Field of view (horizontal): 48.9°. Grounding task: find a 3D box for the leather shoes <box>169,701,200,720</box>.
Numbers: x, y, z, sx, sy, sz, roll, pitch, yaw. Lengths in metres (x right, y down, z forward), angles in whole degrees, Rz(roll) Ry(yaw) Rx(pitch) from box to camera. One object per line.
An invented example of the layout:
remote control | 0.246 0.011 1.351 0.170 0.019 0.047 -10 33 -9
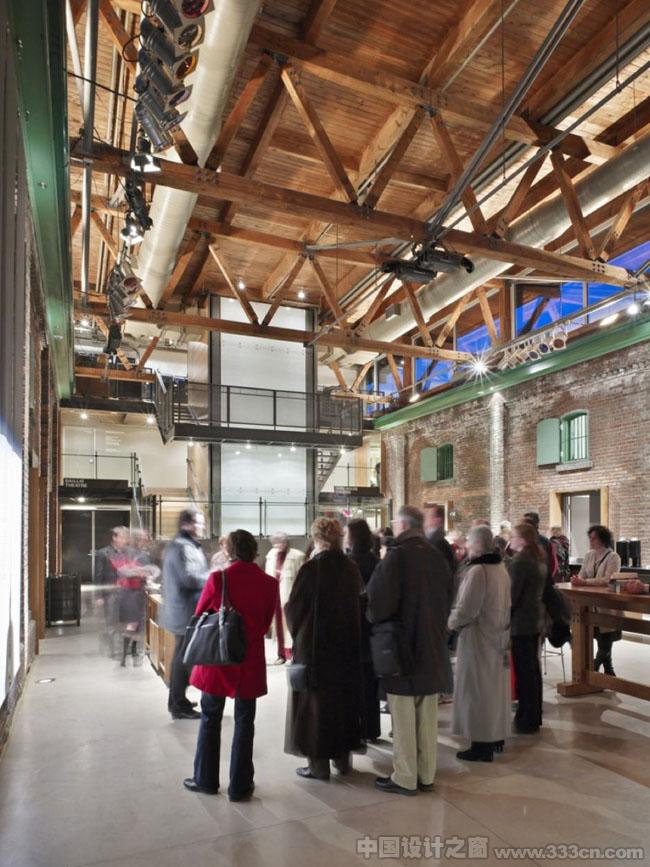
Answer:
leather shoes | -1.194 2.333 6.031 0.305 0.128 0.103 2 -9 -3

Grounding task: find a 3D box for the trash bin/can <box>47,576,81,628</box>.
trash bin/can | -4.263 2.689 11.538 0.558 0.840 0.647 3 -6 -20

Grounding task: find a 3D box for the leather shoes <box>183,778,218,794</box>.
leather shoes | -0.787 2.150 4.378 0.287 0.046 0.095 -3 -7 32

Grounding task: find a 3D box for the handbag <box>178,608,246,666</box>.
handbag | -0.716 1.116 4.174 0.151 0.361 0.375 25 9 39

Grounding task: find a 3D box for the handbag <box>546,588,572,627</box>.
handbag | 1.941 1.423 5.903 0.212 0.284 0.104 -24 -5 -22
